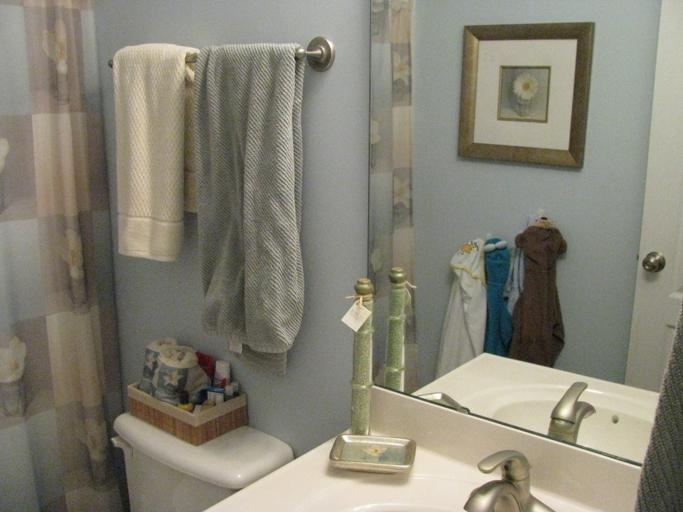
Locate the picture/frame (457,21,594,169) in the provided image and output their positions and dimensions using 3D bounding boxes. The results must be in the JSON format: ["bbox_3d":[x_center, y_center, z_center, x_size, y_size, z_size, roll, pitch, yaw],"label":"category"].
[{"bbox_3d":[0.385,-0.334,1.290,0.275,0.315,0.026,5,9,31],"label":"picture/frame"}]

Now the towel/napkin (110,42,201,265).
[{"bbox_3d":[-0.493,-0.285,1.760,0.317,0.560,0.195,7,8,27],"label":"towel/napkin"}]

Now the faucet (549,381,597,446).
[{"bbox_3d":[0.473,0.307,1.334,0.054,0.099,0.154,9,38,35],"label":"faucet"}]

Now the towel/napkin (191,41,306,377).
[{"bbox_3d":[-0.213,-0.112,1.616,0.350,0.824,0.203,17,20,40],"label":"towel/napkin"}]
